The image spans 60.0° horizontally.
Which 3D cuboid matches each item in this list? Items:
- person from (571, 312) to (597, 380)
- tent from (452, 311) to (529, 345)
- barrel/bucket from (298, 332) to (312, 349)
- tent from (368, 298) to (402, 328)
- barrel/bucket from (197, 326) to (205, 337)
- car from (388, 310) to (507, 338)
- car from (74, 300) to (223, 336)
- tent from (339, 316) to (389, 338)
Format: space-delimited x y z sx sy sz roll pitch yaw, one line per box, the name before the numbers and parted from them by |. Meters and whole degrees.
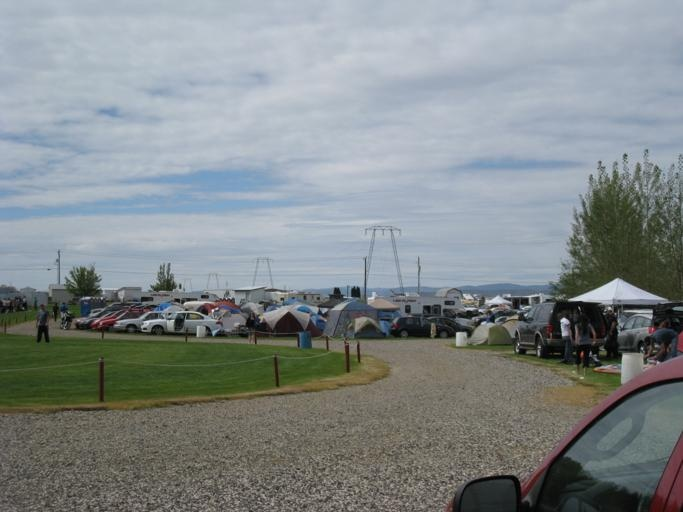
person | 8.834 3.176 21.395 0.666 1.990 0.735 4 -13 -9
tent | 9.091 4.717 36.063 3.765 0.986 2.469 1 -3 -16
barrel/bucket | -1.911 4.376 31.011 0.611 0.807 0.903 -1 -2 -5
tent | 4.143 4.914 55.644 2.388 1.486 2.117 0 -5 -13
barrel/bucket | -9.872 5.308 41.622 0.900 0.749 0.789 0 -5 -1
car | 8.431 5.479 47.679 8.157 2.564 3.218 0 -2 0
car | -16.023 5.185 49.170 9.760 2.523 3.325 0 -2 2
tent | 1.716 5.187 42.047 2.115 0.734 2.006 0 0 -25
